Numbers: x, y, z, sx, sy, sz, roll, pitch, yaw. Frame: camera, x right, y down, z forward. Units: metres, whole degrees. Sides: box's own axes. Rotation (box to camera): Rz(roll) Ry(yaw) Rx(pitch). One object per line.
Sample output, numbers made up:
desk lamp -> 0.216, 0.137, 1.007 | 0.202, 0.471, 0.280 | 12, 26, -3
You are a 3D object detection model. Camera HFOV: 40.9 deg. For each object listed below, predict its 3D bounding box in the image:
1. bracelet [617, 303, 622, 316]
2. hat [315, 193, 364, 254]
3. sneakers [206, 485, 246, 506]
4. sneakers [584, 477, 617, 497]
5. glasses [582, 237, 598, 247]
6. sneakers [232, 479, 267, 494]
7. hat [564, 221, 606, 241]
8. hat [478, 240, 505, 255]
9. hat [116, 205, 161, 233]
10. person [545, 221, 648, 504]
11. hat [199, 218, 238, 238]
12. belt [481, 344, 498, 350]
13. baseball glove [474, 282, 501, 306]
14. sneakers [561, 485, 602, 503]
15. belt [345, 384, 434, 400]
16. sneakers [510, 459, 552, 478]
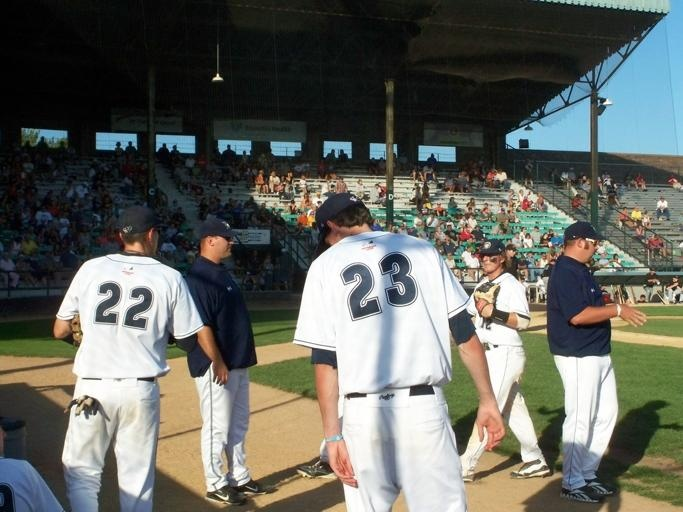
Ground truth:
bracelet -> 4.259, 0.812, 14.082 | 0.101, 0.152, 0.052 | 8, -12, -4
hat -> -0.009, -0.435, 12.558 | 0.524, 0.907, 0.431 | 11, -21, 45
sneakers -> -1.758, 3.725, 14.296 | 0.634, 0.301, 0.265 | 1, 5, 5
sneakers -> 4.033, 3.600, 14.294 | 0.467, 0.210, 0.212 | 8, 0, 13
glasses -> 3.915, -0.232, 14.418 | 0.126, 0.096, 0.171 | 2, 2, -11
sneakers -> -1.428, 3.623, 14.369 | 0.553, 0.246, 0.209 | 0, 11, -6
hat -> 3.788, -0.398, 14.432 | 0.417, 0.243, 0.323 | -4, 5, 1
hat -> 2.446, -0.126, 14.774 | 0.326, 0.192, 0.233 | 6, -6, -41
hat -> -2.971, -0.531, 13.328 | 0.337, 0.284, 0.493 | 3, 27, 19
person -> 3.802, 1.613, 14.298 | 1.163, 4.268, 0.767 | 1, 6, 12
hat -> -1.974, -0.449, 14.484 | 0.432, 0.252, 0.323 | -2, 9, -7
belt -> 2.371, 1.441, 14.679 | 0.135, 0.075, 0.186 | -3, -2, -12
baseball glove -> 2.324, 0.561, 14.700 | 0.320, 0.140, 0.335 | 5, 48, 48
sneakers -> 3.736, 3.666, 14.284 | 0.596, 0.284, 0.226 | 1, -5, 9
belt -> 0.690, 1.809, 12.316 | 1.138, 0.192, 0.066 | 0, 6, 1
sneakers -> 3.074, 3.418, 14.860 | 0.653, 0.313, 0.267 | -1, -3, 1
